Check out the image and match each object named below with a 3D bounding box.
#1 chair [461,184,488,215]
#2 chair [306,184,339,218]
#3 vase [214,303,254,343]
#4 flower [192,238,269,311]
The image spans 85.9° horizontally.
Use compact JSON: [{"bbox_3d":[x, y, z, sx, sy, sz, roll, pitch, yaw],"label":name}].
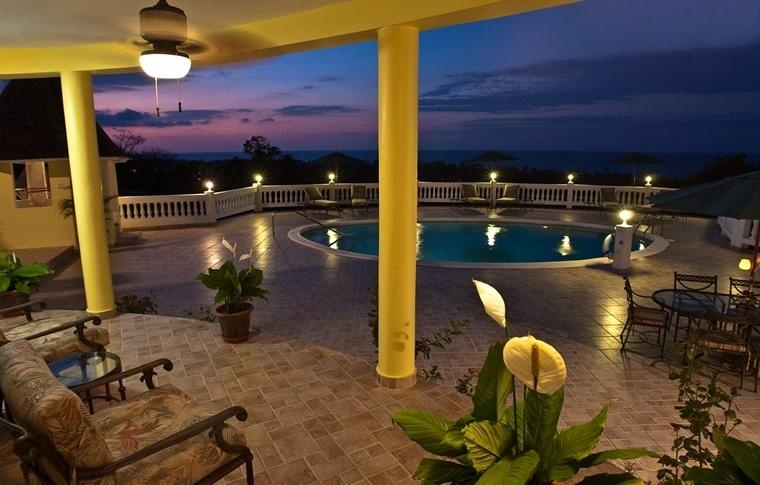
[{"bbox_3d":[4.765,-2.294,20.714,1.269,1.367,1.949,-1,8,11],"label":"chair"},{"bbox_3d":[-2.910,-2.054,19.749,1.465,1.347,2.367,-5,8,-17],"label":"chair"},{"bbox_3d":[-2.320,1.301,6.639,0.673,0.433,0.613,-1,4,-2],"label":"vase"},{"bbox_3d":[-2.459,0.607,6.555,1.111,0.921,0.998,2,9,14],"label":"flower"}]
